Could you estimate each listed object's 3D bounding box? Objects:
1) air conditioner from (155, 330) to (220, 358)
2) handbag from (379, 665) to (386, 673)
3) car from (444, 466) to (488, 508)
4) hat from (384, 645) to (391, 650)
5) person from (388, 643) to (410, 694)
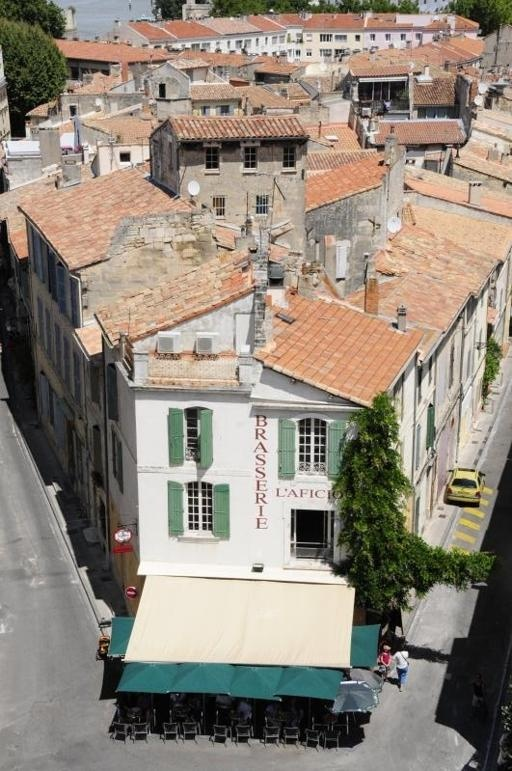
[{"bbox_3d":[-2.054,-1.237,34.667,1.777,0.611,0.756,1,23,3],"label":"air conditioner"},{"bbox_3d":[3.882,8.712,36.384,0.151,0.310,0.219,-12,17,-40],"label":"handbag"},{"bbox_3d":[8.711,4.347,49.481,1.444,1.065,1.925,7,25,17],"label":"car"},{"bbox_3d":[4.032,8.084,36.492,0.234,0.171,0.349,3,-8,4],"label":"hat"},{"bbox_3d":[4.438,8.371,36.268,0.550,1.490,1.932,3,24,8],"label":"person"}]
